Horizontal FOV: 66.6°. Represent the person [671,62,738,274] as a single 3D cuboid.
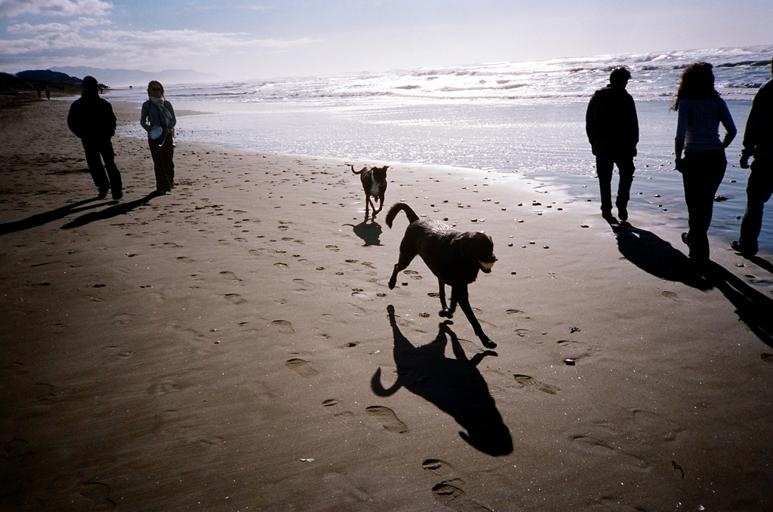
[{"bbox_3d":[4.434,-1.338,8.399,0.838,2.697,1.183,9,26,21],"label":"person"}]
